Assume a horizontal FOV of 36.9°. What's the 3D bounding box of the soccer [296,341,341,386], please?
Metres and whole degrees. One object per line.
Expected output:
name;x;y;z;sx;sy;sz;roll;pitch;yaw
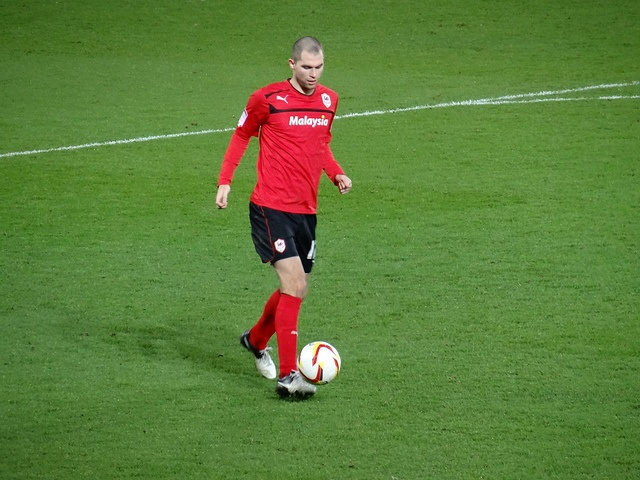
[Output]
soccer;-0.012;0.981;7.268;0.313;0.355;0.186;-2;24;1

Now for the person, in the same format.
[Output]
person;-0.280;-0.175;7.256;0.900;2.508;1.127;3;24;12

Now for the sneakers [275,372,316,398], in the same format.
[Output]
sneakers;-0.185;1.114;7.308;0.298;0.219;0.157;0;3;0
